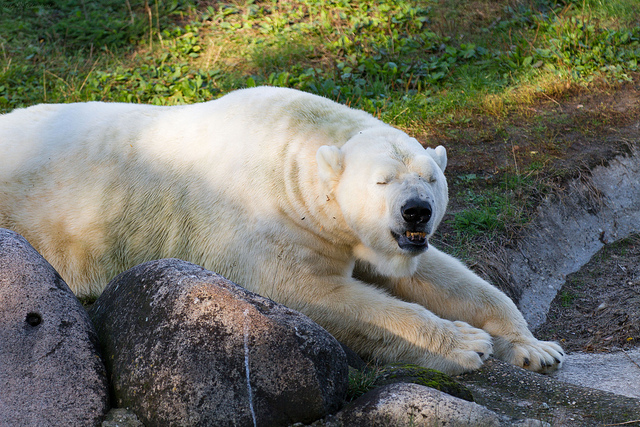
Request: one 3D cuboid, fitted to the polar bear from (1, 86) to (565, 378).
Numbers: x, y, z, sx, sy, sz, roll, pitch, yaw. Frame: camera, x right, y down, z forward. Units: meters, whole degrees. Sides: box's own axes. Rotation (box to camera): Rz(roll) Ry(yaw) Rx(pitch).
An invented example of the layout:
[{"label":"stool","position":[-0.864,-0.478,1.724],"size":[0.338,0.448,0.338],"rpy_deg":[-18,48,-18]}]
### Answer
[{"label":"polar bear","position":[-0.632,0.014,7.322],"size":[4.820,1.958,2.538],"rpy_deg":[13,24,0]}]
